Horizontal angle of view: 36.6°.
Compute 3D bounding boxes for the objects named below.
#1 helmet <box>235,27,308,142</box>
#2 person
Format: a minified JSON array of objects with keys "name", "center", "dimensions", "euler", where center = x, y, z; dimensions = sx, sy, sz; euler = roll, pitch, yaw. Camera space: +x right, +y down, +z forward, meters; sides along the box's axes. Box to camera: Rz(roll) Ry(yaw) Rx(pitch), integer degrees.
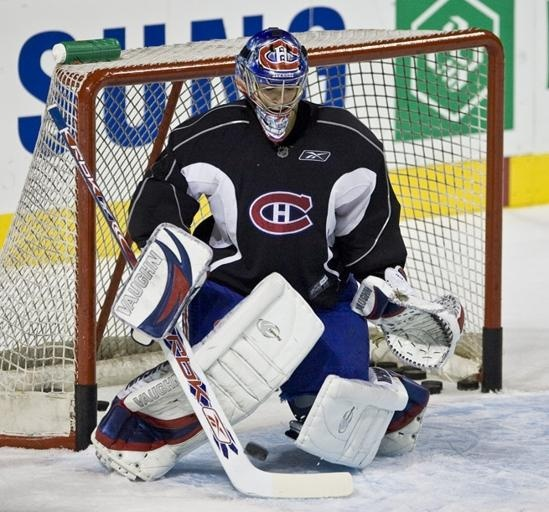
[{"name":"helmet","center":[-0.026,-0.490,2.370],"dimensions":[0.252,0.277,0.301],"euler":[0,56,-5]},{"name":"person","center":[-0.052,0.009,2.389],"dimensions":[1.177,1.235,0.715],"euler":[-4,16,-16]}]
